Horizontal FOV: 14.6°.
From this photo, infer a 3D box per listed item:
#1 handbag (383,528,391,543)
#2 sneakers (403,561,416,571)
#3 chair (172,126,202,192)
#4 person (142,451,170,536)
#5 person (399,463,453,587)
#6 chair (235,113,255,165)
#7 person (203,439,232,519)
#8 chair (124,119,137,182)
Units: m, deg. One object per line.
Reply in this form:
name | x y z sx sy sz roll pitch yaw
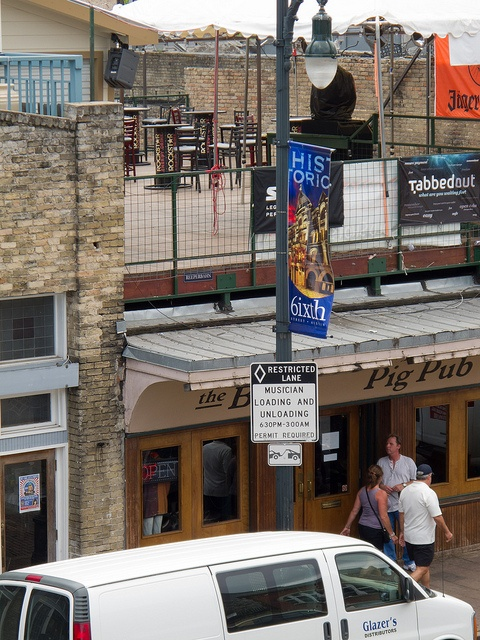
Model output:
handbag | 1.660 2.389 21.216 0.062 0.137 0.098 -19 29 -1
sneakers | 2.017 2.893 22.332 0.081 0.130 0.255 -3 1 -27
chair | -0.841 -2.582 29.459 0.293 0.945 0.375 -2 9 -5
person | -0.978 1.937 21.439 0.102 0.953 0.403 2 5 40
person | 2.001 2.309 20.451 0.492 1.545 0.552 4 18 14
chair | 0.116 -2.854 29.859 0.360 0.778 0.375 1 9 -6
person | -0.265 1.852 21.984 0.104 0.947 0.453 2 5 43
chair | -1.696 -2.567 28.090 0.284 0.824 0.386 -4 5 -14
